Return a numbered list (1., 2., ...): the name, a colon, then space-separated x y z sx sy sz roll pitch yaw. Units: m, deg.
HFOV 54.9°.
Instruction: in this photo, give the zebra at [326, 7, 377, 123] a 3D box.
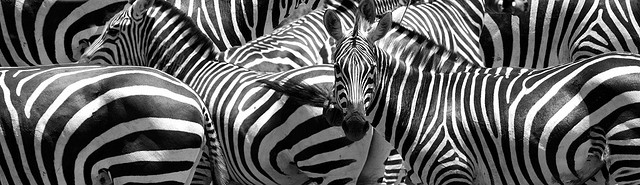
1. zebra: 0.586 -0.399 10.617 0.737 1.350 1.999 16 -76 6
